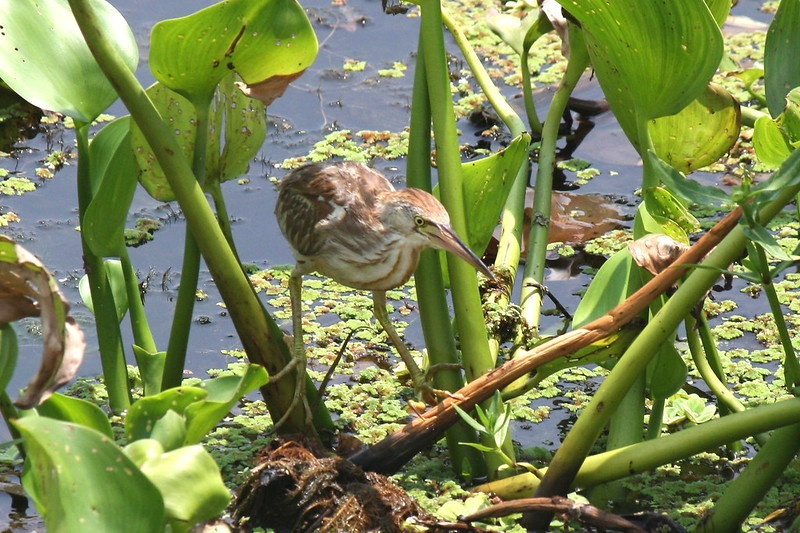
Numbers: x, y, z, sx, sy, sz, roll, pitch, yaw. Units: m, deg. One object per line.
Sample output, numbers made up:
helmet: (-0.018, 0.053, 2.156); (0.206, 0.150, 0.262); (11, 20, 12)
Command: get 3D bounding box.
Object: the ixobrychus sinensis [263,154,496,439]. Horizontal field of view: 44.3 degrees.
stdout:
ixobrychus sinensis: (-0.126, 0.025, 2.759); (0.571, 0.523, 0.698); (-16, 48, -35)
